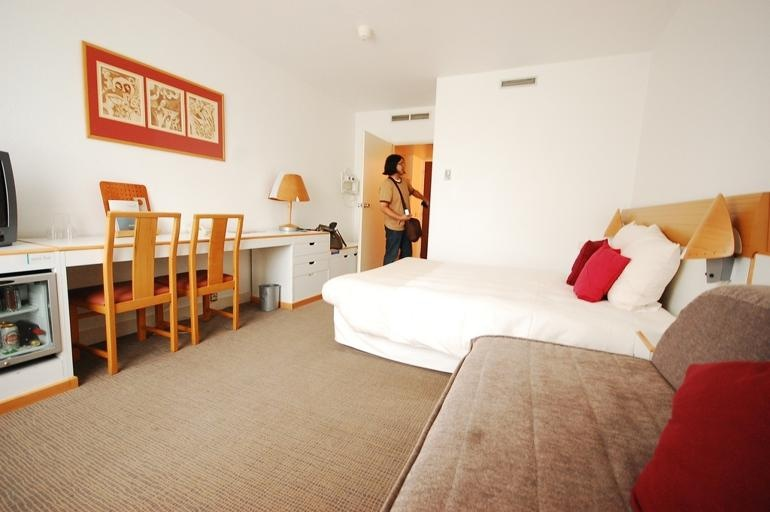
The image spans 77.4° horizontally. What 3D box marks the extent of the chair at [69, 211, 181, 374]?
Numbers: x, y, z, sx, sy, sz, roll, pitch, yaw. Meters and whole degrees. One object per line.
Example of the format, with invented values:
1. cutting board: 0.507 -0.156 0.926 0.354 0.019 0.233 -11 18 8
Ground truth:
1. chair: -2.072 0.256 3.877 0.818 1.242 0.544 -6 11 -35

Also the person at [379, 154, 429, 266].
1. person: 0.251 -0.458 6.262 0.787 1.734 0.430 -17 28 -32

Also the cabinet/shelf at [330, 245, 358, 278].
1. cabinet/shelf: -0.527 0.082 6.183 0.318 0.424 0.597 1 5 18

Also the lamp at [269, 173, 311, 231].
1. lamp: -1.083 -0.613 5.450 0.424 0.631 0.533 -6 10 -35

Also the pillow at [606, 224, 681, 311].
1. pillow: 1.875 0.105 3.455 0.256 0.222 0.559 -20 8 21

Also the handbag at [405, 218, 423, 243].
1. handbag: 0.366 -0.328 6.090 0.200 0.289 0.111 9 7 17
